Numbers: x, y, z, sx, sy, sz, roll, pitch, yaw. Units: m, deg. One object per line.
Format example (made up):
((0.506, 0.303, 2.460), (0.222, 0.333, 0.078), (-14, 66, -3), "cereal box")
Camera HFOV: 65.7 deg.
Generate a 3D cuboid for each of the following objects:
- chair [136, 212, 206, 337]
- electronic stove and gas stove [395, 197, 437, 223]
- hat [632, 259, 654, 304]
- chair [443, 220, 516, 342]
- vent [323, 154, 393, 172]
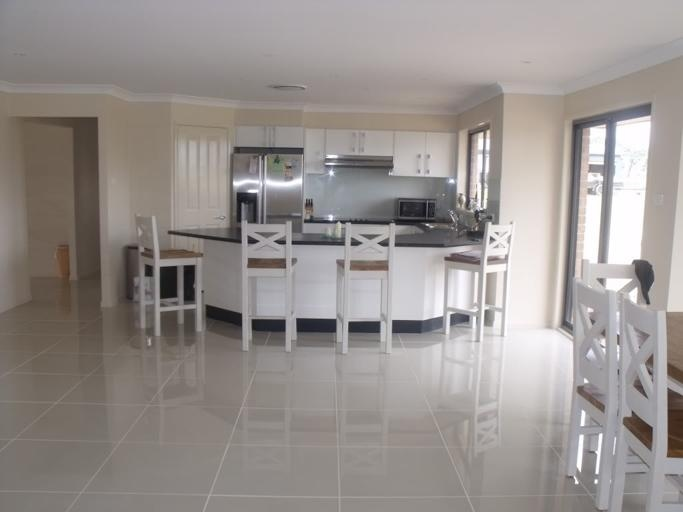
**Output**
((-1.918, 0.158, 6.043), (0.717, 1.244, 1.167), (-1, 7, -20), "chair")
((1.111, -0.699, 7.884), (0.576, 0.336, 0.181), (2, 6, 4), "electronic stove and gas stove")
((2.401, 0.191, 4.216), (0.116, 0.370, 0.149), (-8, -6, 1), "hat")
((1.529, 0.242, 5.789), (0.851, 1.259, 0.609), (-4, 9, -44), "chair")
((0.267, -1.374, 7.718), (1.008, 0.214, 0.171), (1, 6, -5), "vent")
